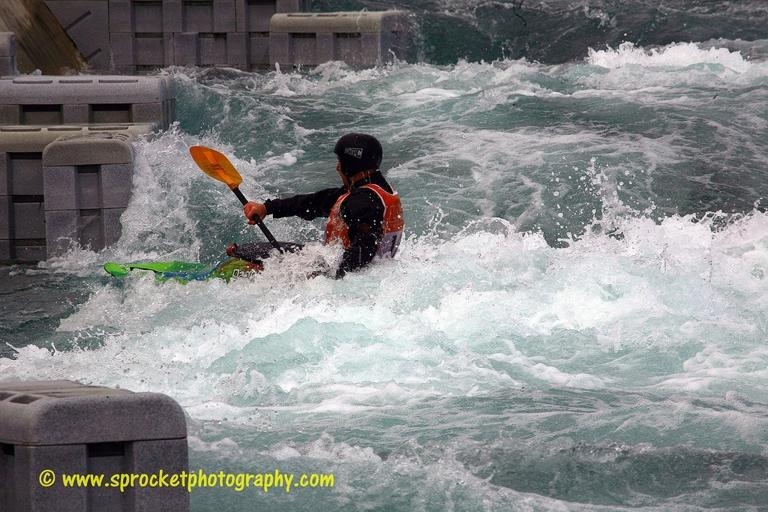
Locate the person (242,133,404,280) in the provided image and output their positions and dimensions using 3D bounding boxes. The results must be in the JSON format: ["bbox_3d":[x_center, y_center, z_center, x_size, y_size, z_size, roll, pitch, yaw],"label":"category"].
[{"bbox_3d":[-0.540,-0.598,12.812,1.342,1.738,0.765,-6,-4,38],"label":"person"}]

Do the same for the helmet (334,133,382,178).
[{"bbox_3d":[-0.214,-1.266,12.701,0.773,0.424,0.476,2,17,27],"label":"helmet"}]
